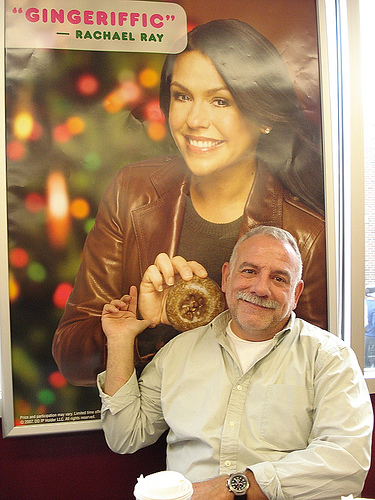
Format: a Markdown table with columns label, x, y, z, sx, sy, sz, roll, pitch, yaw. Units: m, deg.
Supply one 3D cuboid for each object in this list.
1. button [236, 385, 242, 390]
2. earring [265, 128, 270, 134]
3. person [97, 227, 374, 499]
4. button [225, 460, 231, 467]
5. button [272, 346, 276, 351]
| label | x | y | z | sx | sy | sz | roll | pitch | yaw |
| --- | --- | --- | --- | --- | --- | --- | --- | --- | --- |
| button | 0.176 | 0.469 | 1.561 | 0.016 | 0.013 | 0.003 | -1 | -12 | 1 |
| earring | 0.319 | -0.477 | 1.828 | 0.021 | 0.017 | 0.005 | 11 | 2 | -9 |
| person | 0.116 | 0.387 | 1.549 | 0.883 | 0.824 | 0.672 | -8 | 14 | -6 |
| button | 0.131 | 0.689 | 1.477 | 0.019 | 0.014 | 0.013 | -5 | 14 | 6 |
| button | 0.304 | 0.347 | 1.618 | 0.005 | 0.016 | 0.019 | 30 | 36 | 35 |
